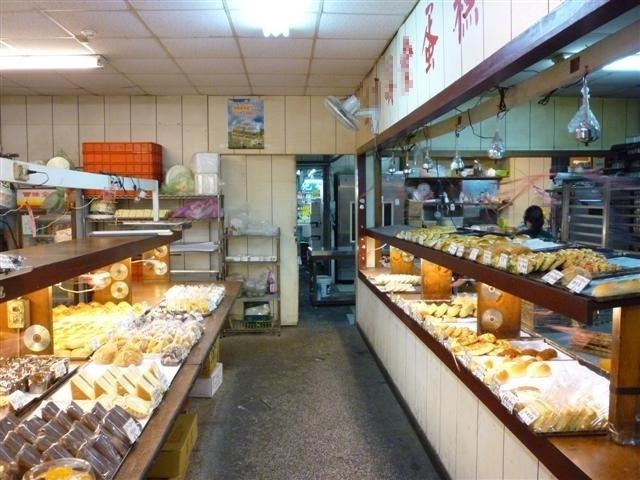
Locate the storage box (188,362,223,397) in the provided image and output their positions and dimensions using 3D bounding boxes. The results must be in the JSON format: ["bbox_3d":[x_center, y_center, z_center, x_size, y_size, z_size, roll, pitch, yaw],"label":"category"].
[{"bbox_3d":[-1.120,1.357,4.634,0.259,0.155,0.357,0,1,-1],"label":"storage box"}]

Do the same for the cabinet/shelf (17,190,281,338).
[{"bbox_3d":[-1.734,0.212,4.845,2.086,1.809,0.663,0,5,-5],"label":"cabinet/shelf"}]

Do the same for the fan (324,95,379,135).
[{"bbox_3d":[0.383,-1.321,5.108,0.454,0.373,1.314,1,9,10],"label":"fan"}]
